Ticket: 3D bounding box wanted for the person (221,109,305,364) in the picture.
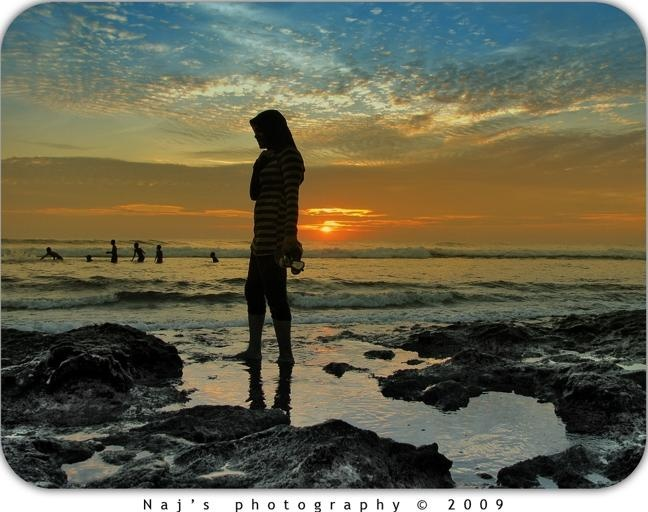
[{"bbox_3d":[-0.583,-0.148,6.761,0.691,2.890,1.097,2,10,-6],"label":"person"}]
